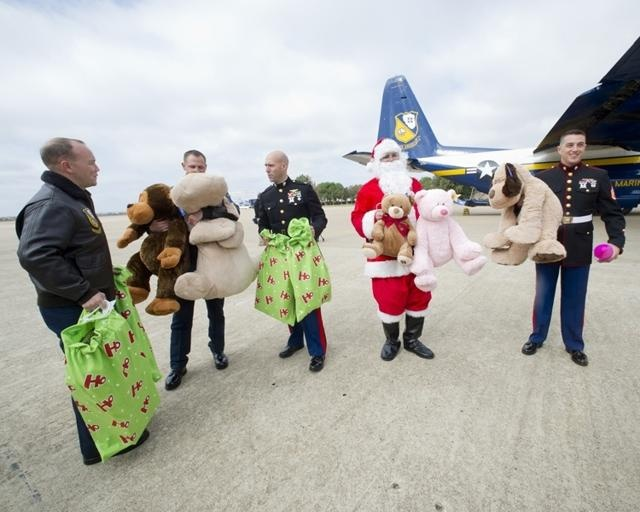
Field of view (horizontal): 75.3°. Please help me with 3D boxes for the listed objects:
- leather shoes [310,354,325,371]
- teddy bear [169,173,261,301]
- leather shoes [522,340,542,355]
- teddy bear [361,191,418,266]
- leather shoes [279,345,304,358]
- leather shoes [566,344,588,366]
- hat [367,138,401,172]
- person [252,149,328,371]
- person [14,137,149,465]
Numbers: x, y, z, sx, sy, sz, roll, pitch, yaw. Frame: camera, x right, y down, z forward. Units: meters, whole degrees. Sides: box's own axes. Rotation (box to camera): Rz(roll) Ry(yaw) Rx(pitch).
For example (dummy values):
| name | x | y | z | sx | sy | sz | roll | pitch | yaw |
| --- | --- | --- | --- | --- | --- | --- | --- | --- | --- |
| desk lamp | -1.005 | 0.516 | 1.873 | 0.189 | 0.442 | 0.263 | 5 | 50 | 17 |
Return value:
| name | x | y | z | sx | sy | sz | roll | pitch | yaw |
| --- | --- | --- | --- | --- | --- | --- | --- | --- | --- |
| leather shoes | -0.027 | 0.973 | 3.857 | 0.129 | 0.106 | 0.197 | -4 | 10 | 8 |
| teddy bear | -0.886 | -0.105 | 3.684 | 0.655 | 0.951 | 0.906 | 20 | 33 | 23 |
| leather shoes | 2.031 | 0.854 | 3.935 | 0.094 | 0.098 | 0.262 | 2 | -4 | 44 |
| teddy bear | 0.669 | -0.255 | 3.587 | 0.453 | 0.550 | 0.497 | 18 | 30 | 35 |
| leather shoes | -0.283 | 0.930 | 4.149 | 0.079 | 0.087 | 0.243 | 7 | 6 | 41 |
| leather shoes | 2.318 | 0.879 | 3.722 | 0.083 | 0.074 | 0.207 | -9 | 6 | 9 |
| hat | 0.627 | -0.945 | 3.955 | 0.338 | 0.323 | 0.263 | -4 | 11 | 8 |
| person | -0.214 | -0.026 | 4.105 | 0.703 | 1.993 | 1.024 | -8 | 12 | -8 |
| person | -1.732 | 0.303 | 2.980 | 0.599 | 2.271 | 0.692 | -12 | 13 | -24 |
